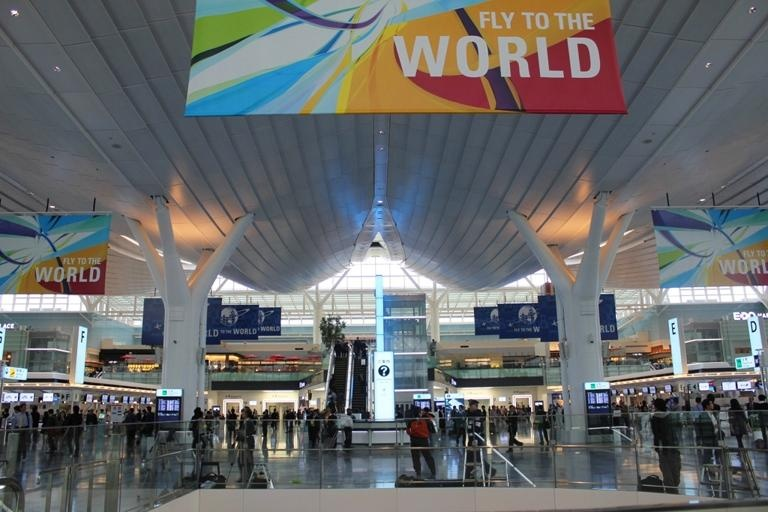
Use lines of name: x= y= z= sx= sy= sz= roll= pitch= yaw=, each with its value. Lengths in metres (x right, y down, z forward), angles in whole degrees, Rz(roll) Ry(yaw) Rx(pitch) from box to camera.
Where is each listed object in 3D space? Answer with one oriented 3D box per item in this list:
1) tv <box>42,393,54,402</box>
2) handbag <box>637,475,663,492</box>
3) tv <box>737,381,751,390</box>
tv: x=-27.163 y=11.464 z=40.083 sx=0.683 sy=0.475 sz=0.363 roll=-2 pitch=-20 yaw=-4
handbag: x=6.015 y=5.150 z=11.179 sx=0.198 sy=0.464 sz=0.657 roll=3 pitch=-11 yaw=-9
tv: x=27.221 y=9.781 z=37.366 sx=0.891 sy=0.524 sz=0.473 roll=-4 pitch=-13 yaw=16
